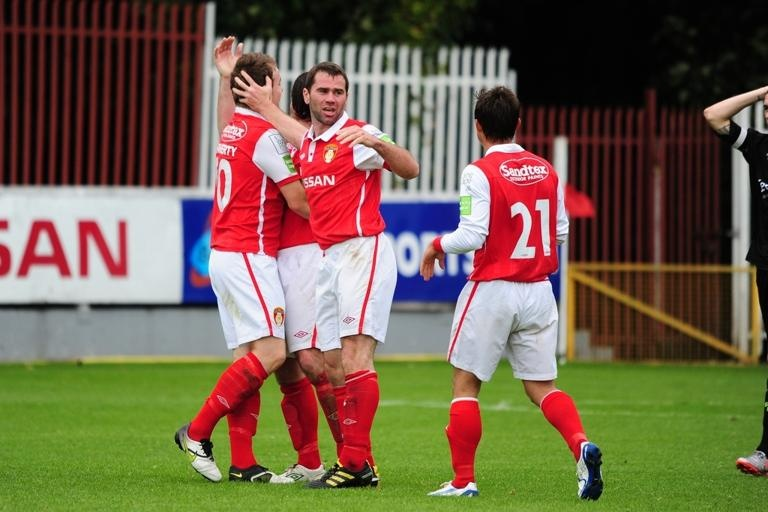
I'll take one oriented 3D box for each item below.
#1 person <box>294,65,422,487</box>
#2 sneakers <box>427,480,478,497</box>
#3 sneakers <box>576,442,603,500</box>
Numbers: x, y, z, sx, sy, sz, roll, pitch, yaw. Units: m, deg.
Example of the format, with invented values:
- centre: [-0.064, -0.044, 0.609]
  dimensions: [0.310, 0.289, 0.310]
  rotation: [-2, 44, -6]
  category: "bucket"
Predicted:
- centre: [-0.338, 0.167, 12.860]
  dimensions: [0.843, 3.948, 0.664]
  rotation: [-1, 6, -4]
  category: "person"
- centre: [0.626, 2.158, 12.670]
  dimensions: [0.452, 0.198, 0.177]
  rotation: [1, -7, -1]
  category: "sneakers"
- centre: [1.848, 1.988, 12.514]
  dimensions: [0.182, 0.575, 0.246]
  rotation: [-2, 19, -7]
  category: "sneakers"
